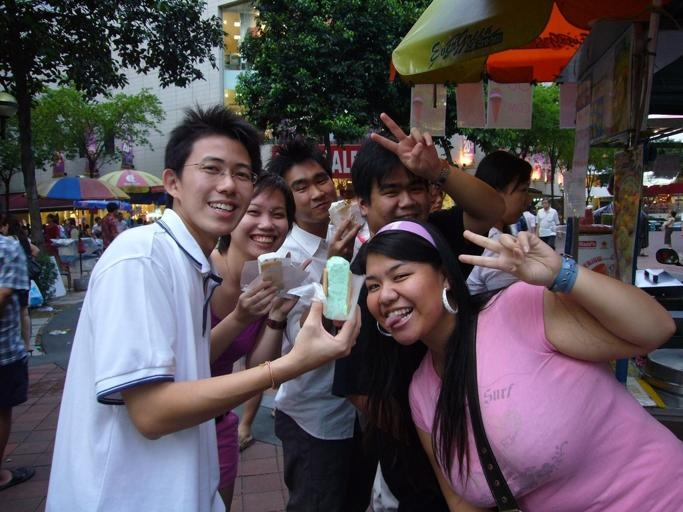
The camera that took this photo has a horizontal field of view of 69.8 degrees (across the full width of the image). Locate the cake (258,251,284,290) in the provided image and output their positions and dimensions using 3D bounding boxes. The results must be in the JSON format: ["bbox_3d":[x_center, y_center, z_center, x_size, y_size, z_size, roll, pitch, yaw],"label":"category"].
[{"bbox_3d":[-0.444,0.098,3.045,0.135,0.251,0.137,-9,33,-5],"label":"cake"}]
